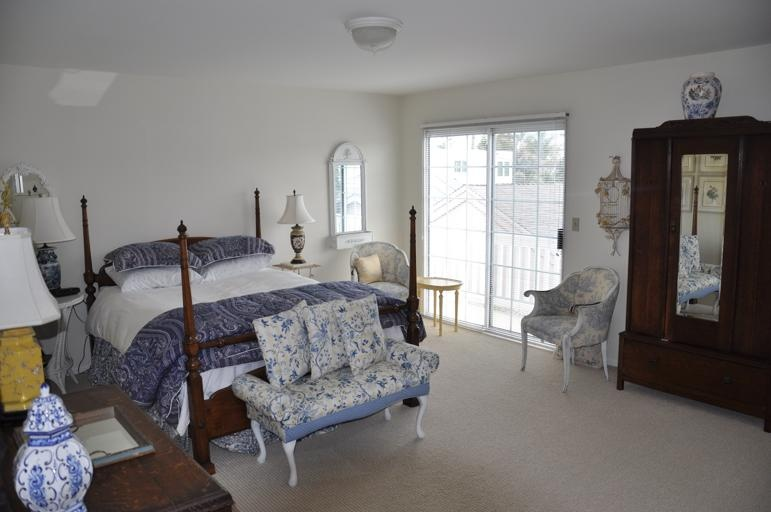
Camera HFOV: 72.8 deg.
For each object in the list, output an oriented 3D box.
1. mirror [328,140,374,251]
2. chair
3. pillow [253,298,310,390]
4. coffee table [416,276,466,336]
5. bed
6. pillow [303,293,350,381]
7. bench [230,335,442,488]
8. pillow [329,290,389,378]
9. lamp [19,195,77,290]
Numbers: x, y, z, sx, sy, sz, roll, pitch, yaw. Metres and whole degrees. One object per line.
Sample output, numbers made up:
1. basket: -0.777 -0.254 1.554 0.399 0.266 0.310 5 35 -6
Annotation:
1. mirror: -0.526 -0.873 7.566 0.719 1.580 0.215 -8 10 -34
2. chair: 2.108 0.758 5.885 0.879 1.195 0.907 -3 8 -11
3. pillow: -0.888 0.737 4.456 0.175 0.565 0.597 -12 3 44
4. coffee table: 0.716 0.708 7.299 0.431 0.607 0.606 1 -2 38
5. bed: -1.567 0.558 5.844 2.437 2.362 3.175 -4 6 -38
6. pillow: -0.633 0.735 4.718 0.218 0.751 0.786 -4 3 9
7. bench: -0.381 1.363 4.716 1.747 0.807 0.791 -6 8 -37
8. pillow: -0.318 0.634 4.773 0.714 0.170 0.648 40 20 -42
9. lamp: -3.517 -0.099 5.388 0.618 0.992 0.571 -5 3 -37
